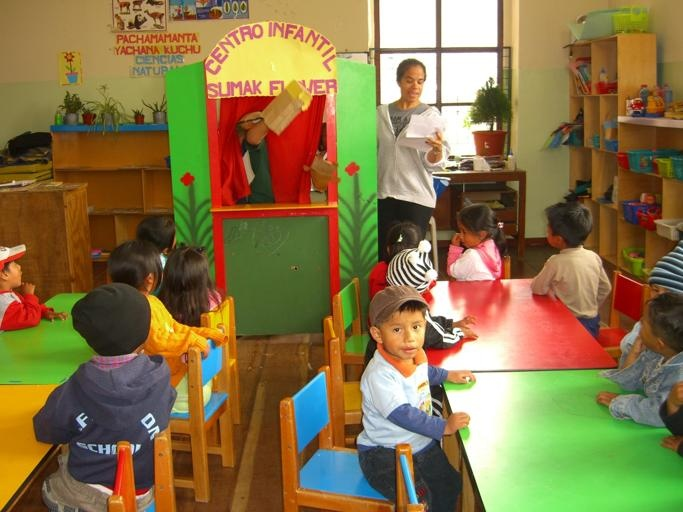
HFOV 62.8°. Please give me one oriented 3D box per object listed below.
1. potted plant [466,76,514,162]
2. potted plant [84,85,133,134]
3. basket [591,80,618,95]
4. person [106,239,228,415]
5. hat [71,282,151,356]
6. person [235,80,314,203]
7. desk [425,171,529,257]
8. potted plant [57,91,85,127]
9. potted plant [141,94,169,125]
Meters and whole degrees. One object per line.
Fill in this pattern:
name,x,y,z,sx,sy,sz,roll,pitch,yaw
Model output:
potted plant,1.788,-1.639,6.711,0.479,0.930,0.622,2,15,13
potted plant,-2.596,-1.571,6.153,0.536,0.425,0.494,-2,10,-18
basket,2.705,-1.719,5.739,0.153,0.086,0.228,-2,6,-10
person,-0.820,0.456,2.579,0.474,0.900,0.368,13,-4,-20
hat,-0.753,0.209,1.842,0.207,0.213,0.171,4,16,21
person,-0.500,-0.782,4.120,0.454,0.923,0.902,-6,16,-16
desk,1.516,-0.345,6.845,1.314,1.345,0.932,0,5,-2
potted plant,-3.036,-1.627,6.179,0.356,0.357,0.352,-2,15,0
potted plant,-2.051,-1.602,6.165,0.232,0.288,0.424,-9,17,-25
